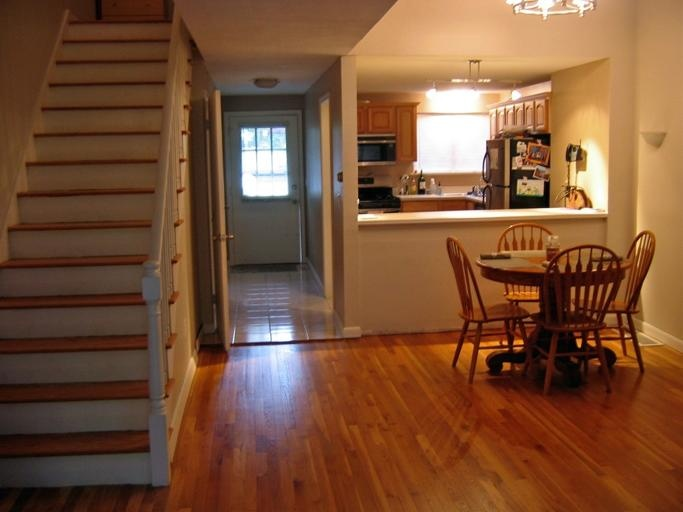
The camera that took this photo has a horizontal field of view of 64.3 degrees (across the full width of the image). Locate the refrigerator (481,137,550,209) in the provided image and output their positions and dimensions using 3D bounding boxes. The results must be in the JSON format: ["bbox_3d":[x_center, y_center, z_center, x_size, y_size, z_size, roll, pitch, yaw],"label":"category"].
[{"bbox_3d":[2.278,-1.057,6.992,0.540,0.579,1.025,-1,11,2],"label":"refrigerator"}]

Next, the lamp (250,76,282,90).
[{"bbox_3d":[-0.921,-2.071,6.514,0.215,0.045,0.157,-5,-11,8],"label":"lamp"}]

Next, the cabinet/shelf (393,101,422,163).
[{"bbox_3d":[1.057,-2.029,9.028,0.408,0.958,0.155,-5,10,-22],"label":"cabinet/shelf"}]

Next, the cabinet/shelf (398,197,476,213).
[{"bbox_3d":[1.516,-0.814,8.653,1.178,0.235,0.401,-1,13,1],"label":"cabinet/shelf"}]

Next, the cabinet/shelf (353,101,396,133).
[{"bbox_3d":[0.582,-2.229,8.824,0.619,0.491,0.165,-2,12,0],"label":"cabinet/shelf"}]

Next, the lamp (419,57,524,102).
[{"bbox_3d":[1.666,-2.258,6.993,0.796,0.375,0.805,-3,3,-15],"label":"lamp"}]

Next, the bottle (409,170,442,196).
[{"bbox_3d":[1.415,-1.226,9.284,0.442,0.437,0.151,0,-1,-13],"label":"bottle"}]

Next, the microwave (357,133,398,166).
[{"bbox_3d":[0.568,-1.728,8.919,0.896,0.660,0.595,-1,10,-4],"label":"microwave"}]

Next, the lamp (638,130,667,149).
[{"bbox_3d":[3.014,-1.119,5.240,0.034,0.140,0.205,-7,16,-13],"label":"lamp"}]

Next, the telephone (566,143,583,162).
[{"bbox_3d":[2.561,-1.138,6.043,0.179,0.198,0.135,2,7,7],"label":"telephone"}]

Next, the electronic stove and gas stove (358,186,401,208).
[{"bbox_3d":[0.576,-0.931,8.747,0.452,0.304,0.490,-1,7,-3],"label":"electronic stove and gas stove"}]
